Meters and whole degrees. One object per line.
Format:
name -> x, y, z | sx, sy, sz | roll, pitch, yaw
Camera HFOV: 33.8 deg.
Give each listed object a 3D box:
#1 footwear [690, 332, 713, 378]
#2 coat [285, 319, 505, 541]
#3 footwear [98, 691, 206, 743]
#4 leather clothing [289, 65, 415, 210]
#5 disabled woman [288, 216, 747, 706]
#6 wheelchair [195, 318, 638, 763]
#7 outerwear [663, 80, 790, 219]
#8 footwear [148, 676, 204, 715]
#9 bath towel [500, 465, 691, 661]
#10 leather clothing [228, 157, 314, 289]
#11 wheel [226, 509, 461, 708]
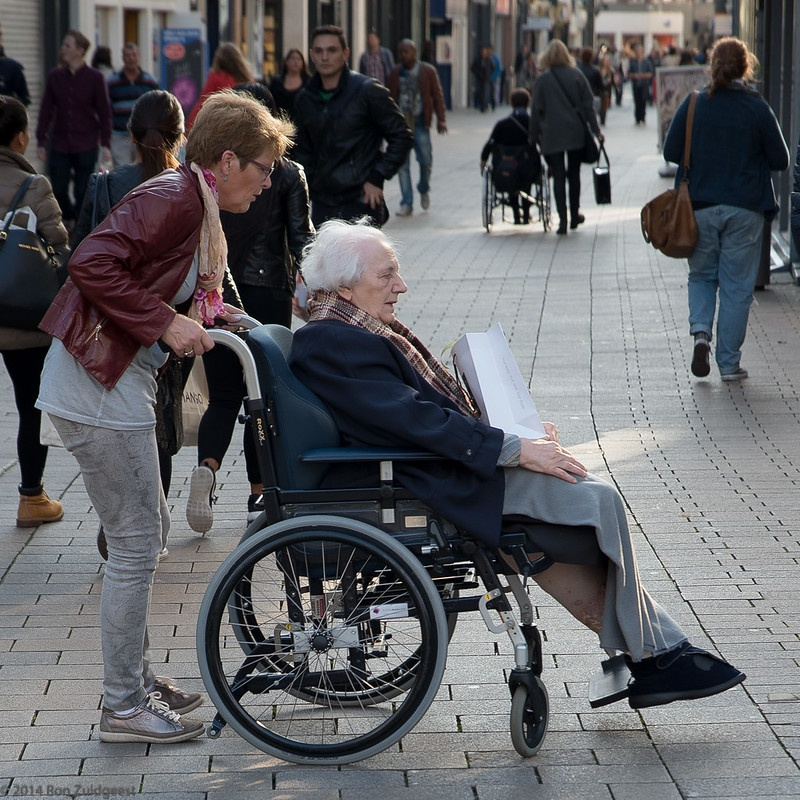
footwear -> 1.899, -0.293, 8.334 | 0.111, 0.313, 0.129 | -1, 11, 14
coat -> 0.002, 0.061, 3.766 | 0.613, 0.559, 0.482 | 8, 7, -7
footwear -> -0.702, 0.916, 3.766 | 0.339, 0.173, 0.122 | 0, 5, -8
leather clothing -> -0.358, -1.738, 8.639 | 0.875, 0.882, 0.496 | -1, 15, 21
disabled woman -> 0.373, 0.086, 4.507 | 1.666, 2.088, 0.851 | -6, 2, 7
wheelchair -> 0.016, 0.356, 3.881 | 1.294, 1.207, 1.082 | -7, 8, -16
outerwear -> 2.095, -1.634, 8.515 | 0.730, 0.927, 0.494 | 1, 4, 13
footwear -> -0.660, 0.869, 3.873 | 0.182, 0.089, 0.069 | 12, 13, 7
bath towel -> 0.566, 0.377, 3.810 | 0.520, 0.729, 0.416 | -5, 18, 22
leather clothing -> -0.528, -0.704, 5.238 | 0.151, 0.364, 0.642 | 10, 13, 37
wheel -> -0.192, 0.583, 3.844 | 0.717, 0.836, 0.479 | 0, 11, -3
